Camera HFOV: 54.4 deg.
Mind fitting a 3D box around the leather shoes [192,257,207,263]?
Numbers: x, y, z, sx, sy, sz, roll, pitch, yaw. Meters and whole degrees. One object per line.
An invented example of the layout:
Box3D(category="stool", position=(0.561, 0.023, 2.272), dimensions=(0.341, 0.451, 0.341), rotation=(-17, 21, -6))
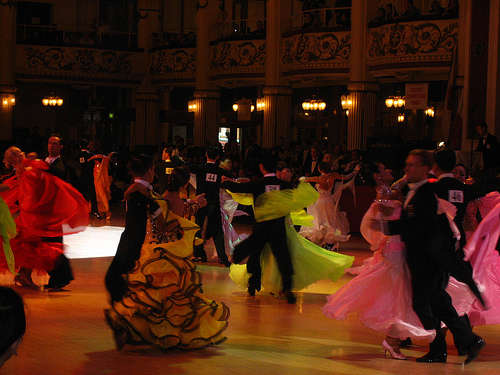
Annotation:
Box3D(category="leather shoes", position=(-0.987, 1.412, 9.527), dimensions=(0.273, 0.088, 0.101), rotation=(9, -1, -1))

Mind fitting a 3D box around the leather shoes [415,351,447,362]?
Box3D(category="leather shoes", position=(1.656, 1.553, 4.470), dimensions=(0.274, 0.114, 0.105), rotation=(3, -11, 2))

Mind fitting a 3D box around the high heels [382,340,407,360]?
Box3D(category="high heels", position=(1.362, 1.506, 4.574), dimensions=(0.205, 0.194, 0.303), rotation=(2, 3, 19))
